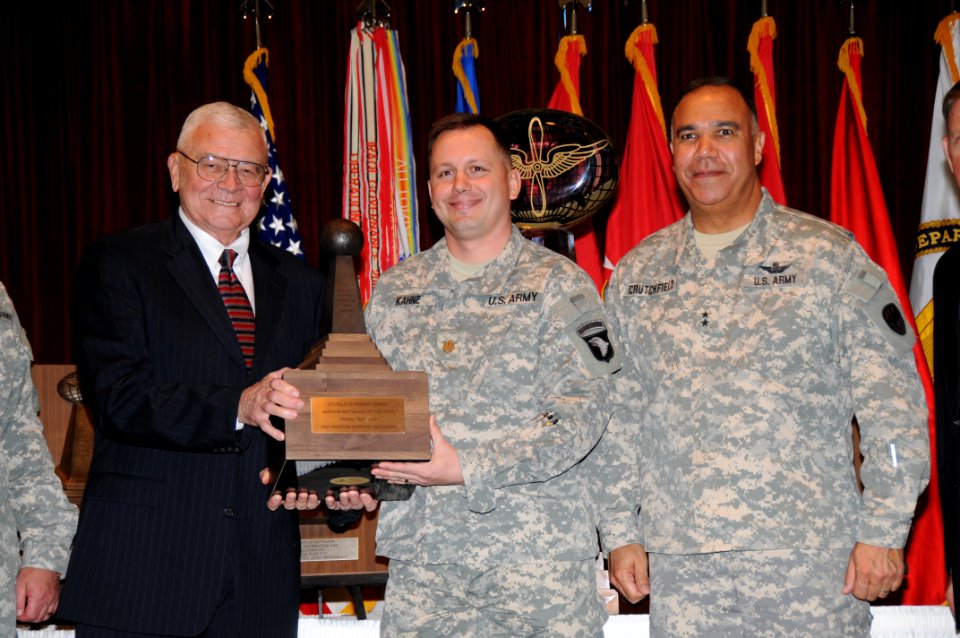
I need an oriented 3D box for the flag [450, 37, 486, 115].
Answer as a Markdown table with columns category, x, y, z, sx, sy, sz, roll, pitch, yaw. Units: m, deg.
| category | x | y | z | sx | sy | sz | roll | pitch | yaw |
| --- | --- | --- | --- | --- | --- | --- | --- | --- | --- |
| flag | -0.073 | -1.299 | 5.263 | 0.129 | 0.439 | 0.202 | -3 | -5 | -1 |
